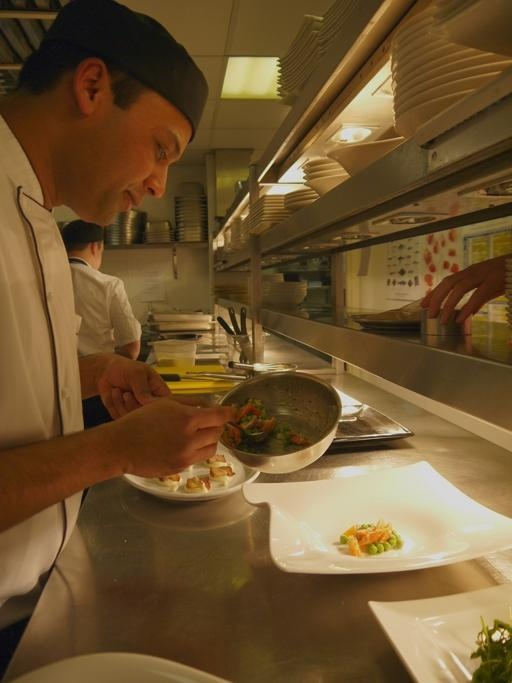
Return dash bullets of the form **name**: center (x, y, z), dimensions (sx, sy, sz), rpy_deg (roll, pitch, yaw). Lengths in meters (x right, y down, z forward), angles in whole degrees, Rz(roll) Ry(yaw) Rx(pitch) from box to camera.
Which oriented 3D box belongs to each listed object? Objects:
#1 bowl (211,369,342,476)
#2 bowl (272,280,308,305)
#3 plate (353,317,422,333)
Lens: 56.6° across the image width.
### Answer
- **bowl**: center (0.057, 0.191, 0.883), dimensions (0.209, 0.079, 0.205), rpy_deg (-11, 36, 8)
- **bowl**: center (0.151, -0.226, 2.109), dimensions (0.129, 0.074, 0.120), rpy_deg (-2, 10, 0)
- **plate**: center (0.213, -0.026, 0.763), dimensions (0.078, 0.016, 0.169), rpy_deg (-4, 7, 2)
